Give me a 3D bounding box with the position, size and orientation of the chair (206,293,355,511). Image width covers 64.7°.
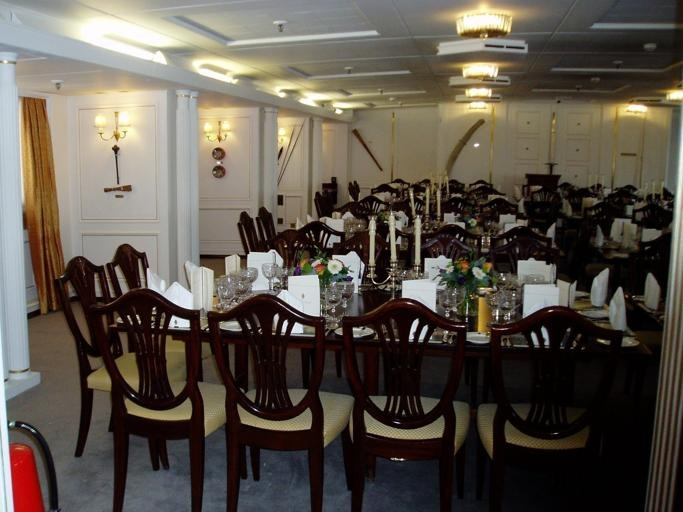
[{"bbox_3d":[-0.315,0.771,2.982,0.784,1.221,0.432,-2,9,-10],"label":"chair"}]

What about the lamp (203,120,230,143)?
[{"bbox_3d":[-2.373,-2.394,10.298,0.387,0.381,0.206,0,7,6],"label":"lamp"}]

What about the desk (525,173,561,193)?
[{"bbox_3d":[5.062,-1.869,13.538,0.828,0.844,0.573,3,7,23],"label":"desk"}]

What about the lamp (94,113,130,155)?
[{"bbox_3d":[-3.190,-1.721,7.508,0.509,0.554,0.123,3,10,16],"label":"lamp"}]

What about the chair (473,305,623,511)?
[{"bbox_3d":[1.250,0.793,3.268,0.707,1.319,1.440,4,10,26],"label":"chair"}]

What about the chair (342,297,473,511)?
[{"bbox_3d":[0.365,0.831,3.039,0.709,1.358,0.693,2,10,13],"label":"chair"}]
